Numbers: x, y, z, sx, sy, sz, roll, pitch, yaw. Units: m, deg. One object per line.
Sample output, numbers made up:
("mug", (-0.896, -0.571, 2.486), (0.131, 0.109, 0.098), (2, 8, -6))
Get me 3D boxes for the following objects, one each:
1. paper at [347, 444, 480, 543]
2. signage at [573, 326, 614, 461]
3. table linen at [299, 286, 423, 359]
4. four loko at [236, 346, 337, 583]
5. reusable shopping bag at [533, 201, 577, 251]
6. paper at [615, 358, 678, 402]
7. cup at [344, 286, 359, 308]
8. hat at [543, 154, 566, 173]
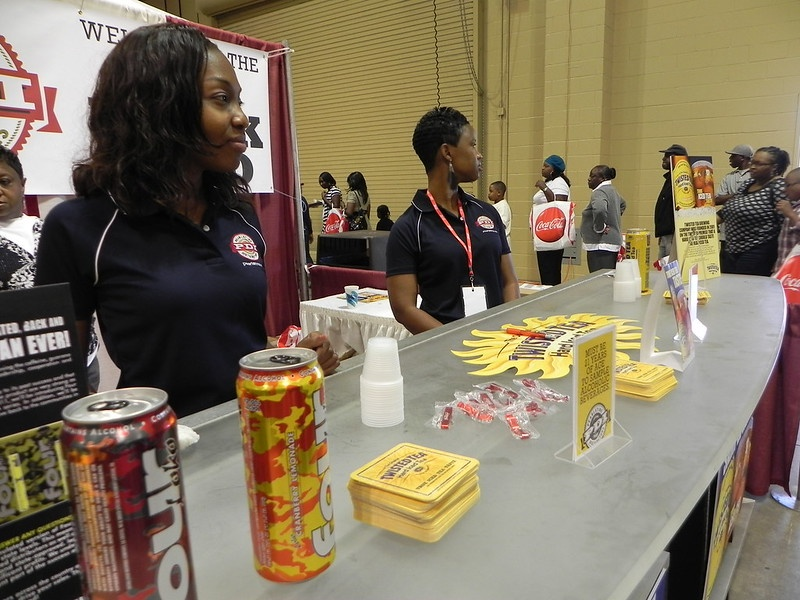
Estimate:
("paper", (0.033, 0.288, 0.803), (0.129, 0.047, 0.133), (9, 19, 39))
("signage", (0.363, 0.183, 0.969), (0.014, 0.279, 0.210), (4, 9, 36))
("table linen", (-0.295, 0.131, 3.211), (0.489, 0.246, 0.502), (12, 18, 42))
("four loko", (-0.146, 0.226, 0.687), (0.111, 0.297, 0.069), (-7, 12, -14))
("reusable shopping bag", (1.614, -0.777, 5.405), (0.439, 0.523, 0.198), (-17, -16, 31))
("paper", (0.564, 0.187, 1.193), (0.101, 0.029, 0.103), (5, 15, 40))
("cup", (-0.303, -0.017, 3.358), (0.117, 0.156, 0.125), (-3, 9, 0))
("hat", (1.753, -1.525, 5.871), (0.230, 0.180, 0.195), (42, 30, 22))
